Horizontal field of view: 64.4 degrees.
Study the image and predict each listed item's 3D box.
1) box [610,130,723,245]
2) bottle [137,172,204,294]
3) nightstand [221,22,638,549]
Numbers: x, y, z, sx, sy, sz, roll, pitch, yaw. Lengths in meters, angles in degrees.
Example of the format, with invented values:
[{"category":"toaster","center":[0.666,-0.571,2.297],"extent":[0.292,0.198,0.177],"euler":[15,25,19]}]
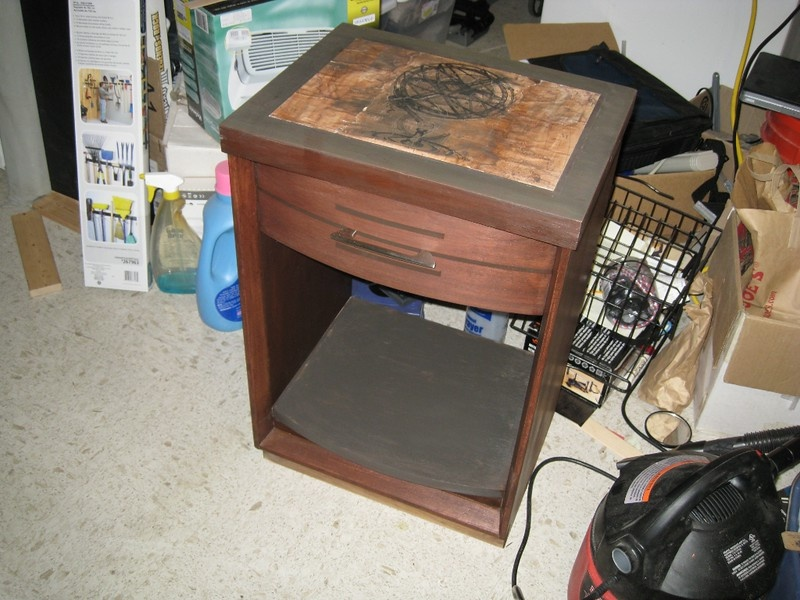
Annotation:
[{"category":"box","center":[0.748,-0.321,1.786],"extent":[0.271,0.290,0.208],"euler":[30,-14,-15]},{"category":"bottle","center":[-0.652,-0.193,1.801],"extent":[0.177,0.359,0.100],"euler":[3,48,-10]},{"category":"nightstand","center":[0.059,-0.015,1.402],"extent":[0.660,0.874,0.566],"euler":[19,41,19]}]
